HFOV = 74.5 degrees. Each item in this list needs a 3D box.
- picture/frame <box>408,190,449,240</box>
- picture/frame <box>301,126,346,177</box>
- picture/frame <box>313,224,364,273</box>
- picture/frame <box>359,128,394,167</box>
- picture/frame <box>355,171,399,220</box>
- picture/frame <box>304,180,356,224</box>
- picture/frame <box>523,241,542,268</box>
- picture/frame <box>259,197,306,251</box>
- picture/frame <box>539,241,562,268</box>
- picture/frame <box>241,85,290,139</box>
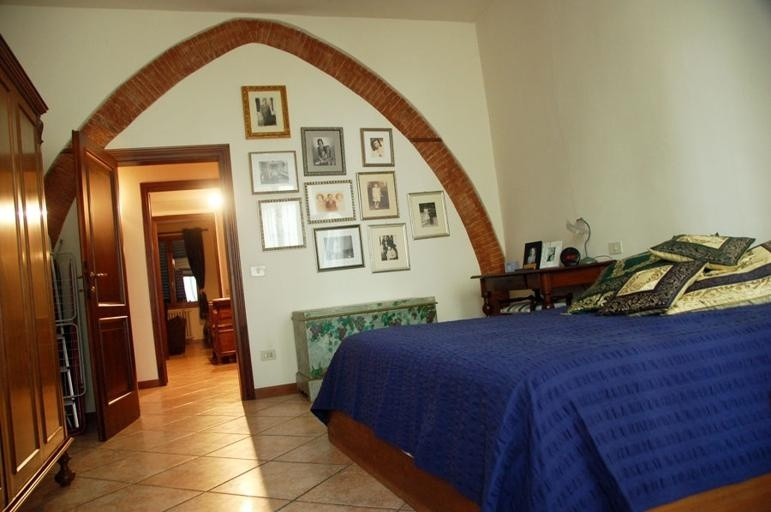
[{"bbox_3d":[0.514,-0.483,6.293,0.546,0.647,0.045,-4,-8,-18],"label":"picture/frame"},{"bbox_3d":[-0.762,-1.228,6.018,0.568,0.643,0.043,-2,-8,-22],"label":"picture/frame"},{"bbox_3d":[-0.582,-0.070,5.985,0.516,0.519,0.037,-4,-6,-19],"label":"picture/frame"},{"bbox_3d":[-0.130,-1.315,6.192,0.457,0.543,0.041,-1,-5,-21],"label":"picture/frame"},{"bbox_3d":[-0.126,-0.717,6.156,0.539,0.644,0.026,-4,-1,-14],"label":"picture/frame"},{"bbox_3d":[-0.686,-0.621,6.006,0.491,0.430,0.034,-2,-7,-23],"label":"picture/frame"},{"bbox_3d":[1.664,-0.003,5.720,0.034,0.334,0.249,11,3,-32],"label":"picture/frame"},{"bbox_3d":[-1.213,-0.348,5.856,0.542,0.626,0.042,-5,-2,-11],"label":"picture/frame"},{"bbox_3d":[1.800,-0.003,5.514,0.026,0.369,0.269,24,-18,-36],"label":"picture/frame"},{"bbox_3d":[-1.419,-1.657,5.892,0.579,0.644,0.050,-4,-4,-20],"label":"picture/frame"}]
